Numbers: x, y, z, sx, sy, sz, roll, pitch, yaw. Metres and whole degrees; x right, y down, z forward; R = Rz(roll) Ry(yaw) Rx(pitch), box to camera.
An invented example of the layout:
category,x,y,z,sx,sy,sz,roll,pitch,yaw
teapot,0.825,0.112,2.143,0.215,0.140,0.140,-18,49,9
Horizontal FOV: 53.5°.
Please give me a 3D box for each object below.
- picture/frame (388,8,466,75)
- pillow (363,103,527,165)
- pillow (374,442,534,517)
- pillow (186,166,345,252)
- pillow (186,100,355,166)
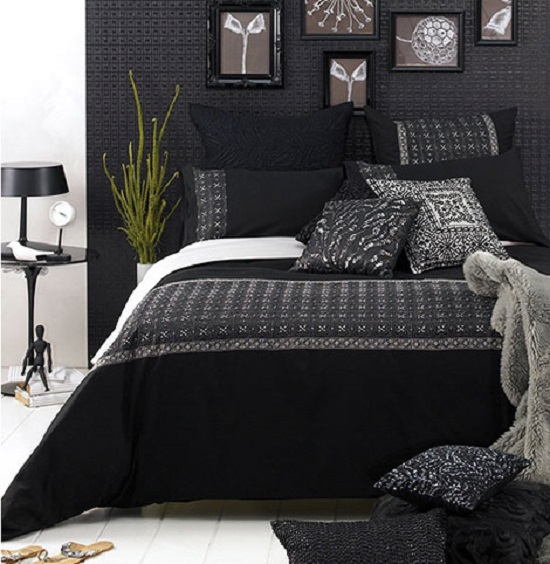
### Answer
category,x,y,z,sx,sy,sz,roll,pitch,yaw
picture/frame,0.892,-1.435,3.218,0.416,0.307,0.032,0,4,0
pillow,0.944,-0.827,3.040,0.547,0.300,0.132,-1,-27,-2
pillow,0.407,0.385,1.210,0.204,0.055,0.187,-16,11,-39
pillow,-0.051,-0.335,2.581,0.750,0.418,0.183,-1,-6,-1
pillow,-0.010,-0.836,3.036,0.566,0.327,0.136,1,-25,-2
